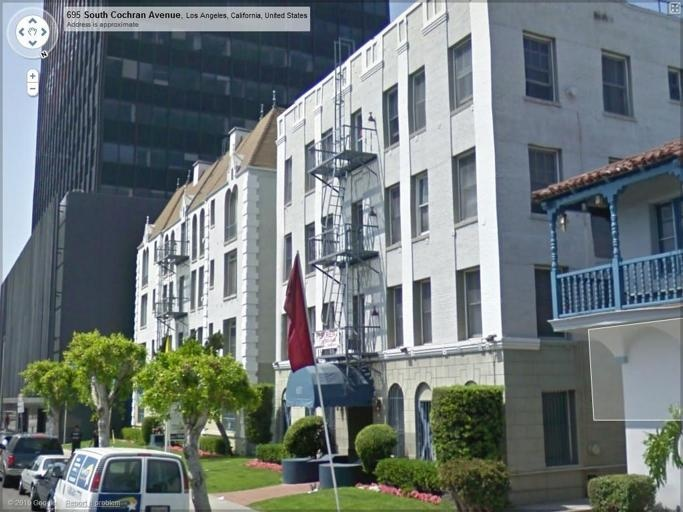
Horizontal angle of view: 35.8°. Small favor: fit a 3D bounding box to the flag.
[{"bbox_3d":[-1.695,2.172,42.061,1.066,4.734,1.772,0,-14,-2],"label":"flag"}]
